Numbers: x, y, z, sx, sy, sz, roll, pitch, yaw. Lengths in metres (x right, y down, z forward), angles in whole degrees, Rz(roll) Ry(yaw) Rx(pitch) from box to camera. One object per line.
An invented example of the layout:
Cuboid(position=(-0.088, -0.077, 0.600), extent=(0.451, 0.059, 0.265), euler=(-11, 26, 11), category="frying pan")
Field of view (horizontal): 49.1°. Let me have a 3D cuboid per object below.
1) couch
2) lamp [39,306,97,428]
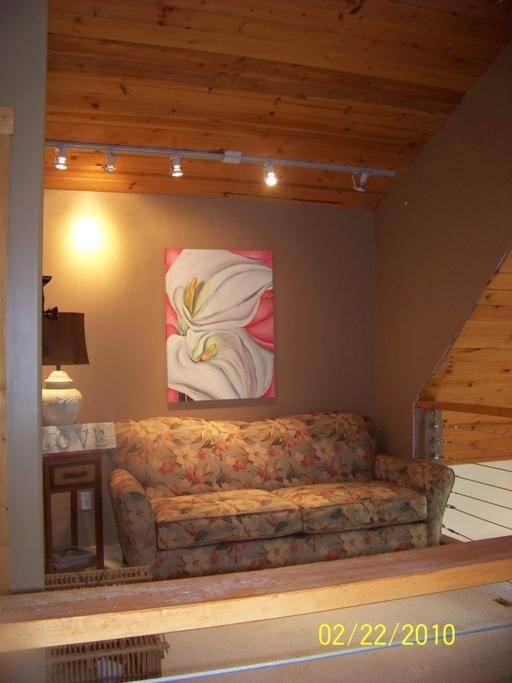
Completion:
Cuboid(position=(0.087, 0.800, 3.153), extent=(1.760, 0.623, 0.823), euler=(1, 2, -18), category="couch")
Cuboid(position=(-0.980, 0.125, 2.885), extent=(0.215, 0.577, 0.478), euler=(2, 2, -20), category="lamp")
